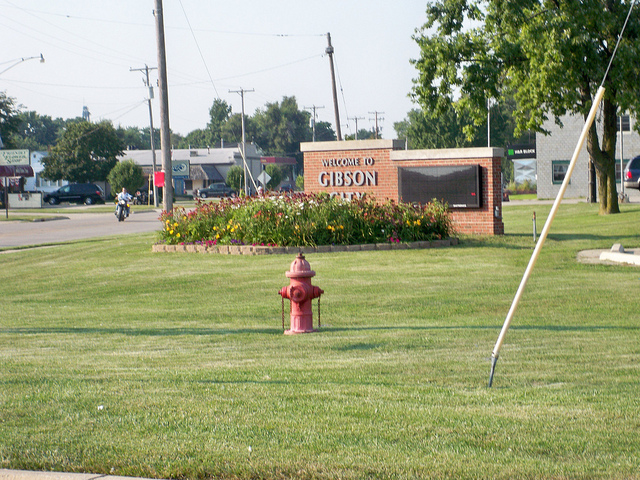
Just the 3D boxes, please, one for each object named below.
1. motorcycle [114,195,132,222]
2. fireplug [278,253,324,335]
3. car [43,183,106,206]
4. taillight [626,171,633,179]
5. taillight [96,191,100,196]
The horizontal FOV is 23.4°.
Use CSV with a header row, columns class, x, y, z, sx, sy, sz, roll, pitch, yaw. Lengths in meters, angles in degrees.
class,x,y,z,sx,sy,sz,roll,pitch,yaw
motorcycle,-8.959,-1.431,69.820,0.518,0.793,1.082,0,-1,-4
fireplug,-0.448,1.309,37.794,0.944,1.908,0.602,-2,10,-3
car,-15.265,-2.951,96.555,2.873,1.361,1.652,1,0,-5
taillight,13.768,-2.894,67.974,0.237,0.291,0.414,-1,12,2
taillight,-13.945,-2.981,96.988,0.218,0.227,0.106,-12,15,-43
